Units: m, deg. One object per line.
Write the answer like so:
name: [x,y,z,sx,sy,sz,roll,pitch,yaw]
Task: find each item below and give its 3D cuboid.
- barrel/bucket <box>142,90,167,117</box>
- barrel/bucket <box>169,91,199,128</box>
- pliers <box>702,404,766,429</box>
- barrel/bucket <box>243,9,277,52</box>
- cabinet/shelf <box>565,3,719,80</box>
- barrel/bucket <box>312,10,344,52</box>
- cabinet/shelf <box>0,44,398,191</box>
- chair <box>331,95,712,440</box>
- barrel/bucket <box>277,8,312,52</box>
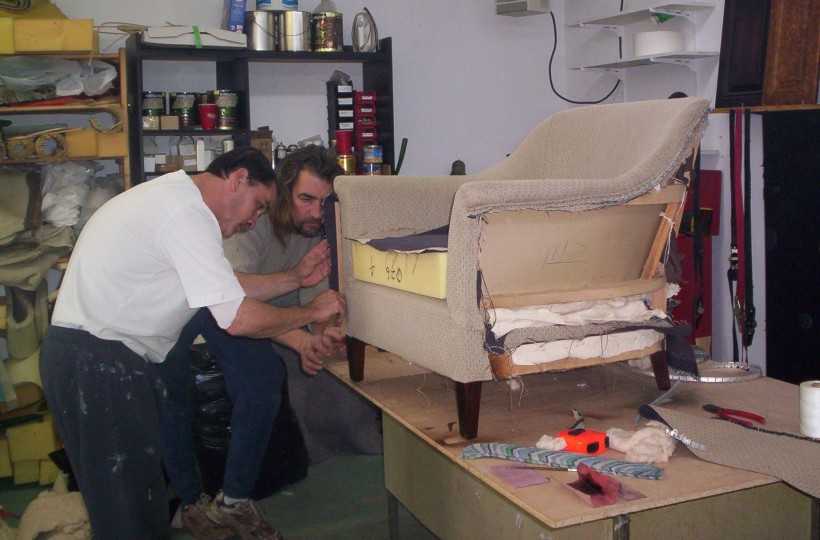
barrel/bucket: [-1.563,-1.026,4.415,0.154,0.144,0.106,-9,14,-26]
barrel/bucket: [-1.398,-1.012,4.504,0.217,0.235,0.212,-1,10,0]
pliers: [1.098,0.488,2.442,0.067,0.019,0.120,-7,10,-26]
barrel/bucket: [-0.941,-1.539,4.617,0.273,0.250,0.263,0,4,0]
cabinet/shelf: [1.434,-1.508,4.860,0.453,0.418,1.298,-8,13,-22]
barrel/bucket: [-0.539,-1.558,4.745,0.240,0.260,0.234,1,5,0]
cabinet/shelf: [-1.303,-0.914,4.241,1.266,0.666,0.174,-5,14,-21]
chair: [0.322,-0.075,3.003,1.364,1.261,1.275,-3,7,-24]
barrel/bucket: [-0.744,-1.556,4.670,0.264,0.271,0.254,0,16,0]
